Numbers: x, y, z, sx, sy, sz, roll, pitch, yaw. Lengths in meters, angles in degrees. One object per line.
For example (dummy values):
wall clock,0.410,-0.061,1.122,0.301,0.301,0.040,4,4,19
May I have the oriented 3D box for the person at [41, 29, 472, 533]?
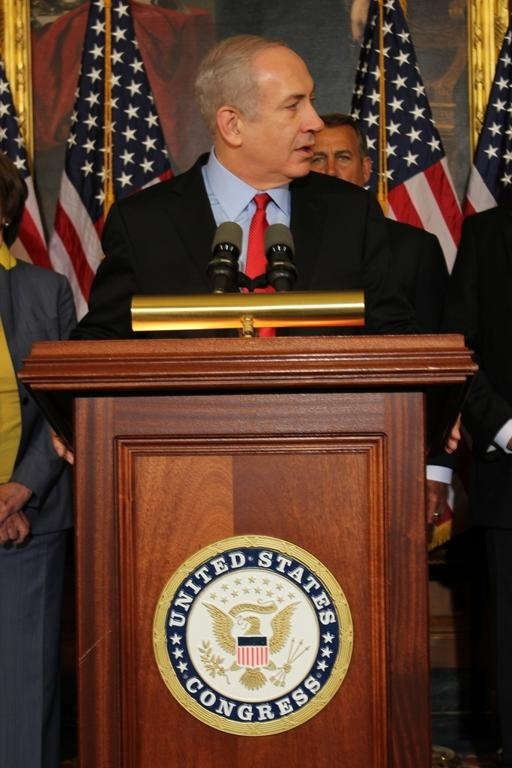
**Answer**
person,0.074,-0.044,2.086,0.745,1.239,0.745,10,40,15
